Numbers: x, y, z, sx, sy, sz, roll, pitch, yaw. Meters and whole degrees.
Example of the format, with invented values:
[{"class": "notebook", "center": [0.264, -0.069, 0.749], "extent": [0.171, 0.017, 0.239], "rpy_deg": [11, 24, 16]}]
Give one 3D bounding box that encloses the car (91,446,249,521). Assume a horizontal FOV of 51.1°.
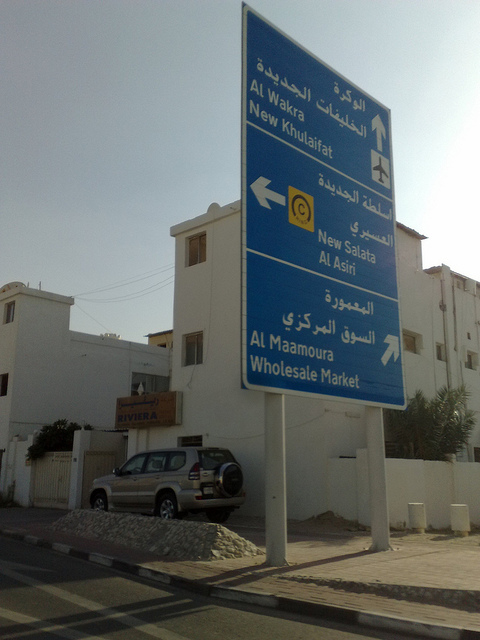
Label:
[{"class": "car", "center": [-1.974, 4.289, 13.277], "extent": [3.968, 1.650, 1.224], "rpy_deg": [-11, -18, 32]}]
